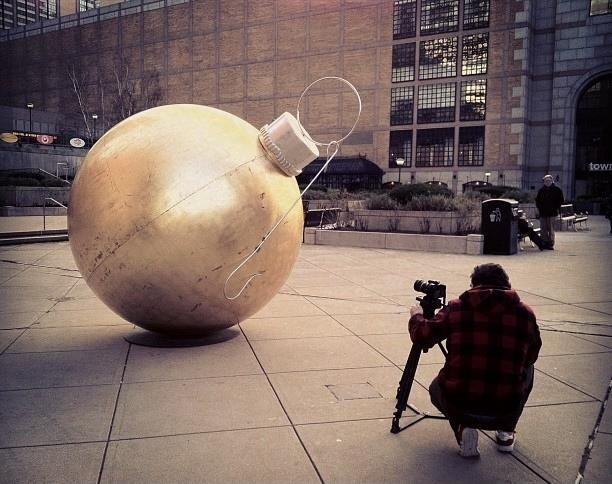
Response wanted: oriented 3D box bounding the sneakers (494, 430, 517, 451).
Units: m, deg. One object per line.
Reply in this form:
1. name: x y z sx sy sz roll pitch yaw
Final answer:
1. sneakers: 1.539 1.552 3.842 0.092 0.128 0.199 0 3 16

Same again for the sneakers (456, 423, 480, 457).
1. sneakers: 1.224 1.535 3.765 0.126 0.173 0.252 -1 -24 3

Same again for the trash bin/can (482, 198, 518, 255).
1. trash bin/can: 5.737 -0.472 14.831 1.078 1.657 0.614 3 7 12

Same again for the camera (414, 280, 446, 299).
1. camera: 0.988 0.370 4.006 0.133 0.121 0.220 1 3 -37

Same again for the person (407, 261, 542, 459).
1. person: 1.352 0.936 4.011 1.086 1.459 1.047 5 -11 -2
